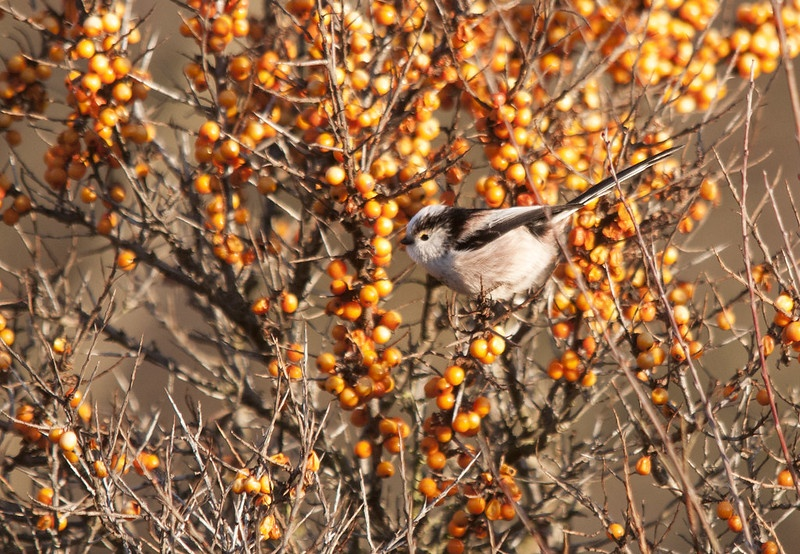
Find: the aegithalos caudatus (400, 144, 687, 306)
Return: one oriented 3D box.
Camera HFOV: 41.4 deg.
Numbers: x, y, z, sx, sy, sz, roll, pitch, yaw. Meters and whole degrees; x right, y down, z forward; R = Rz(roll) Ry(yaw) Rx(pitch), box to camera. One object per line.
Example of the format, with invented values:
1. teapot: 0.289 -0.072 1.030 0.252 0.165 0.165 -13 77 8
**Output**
1. aegithalos caudatus: 0.960 -0.222 7.308 1.918 0.924 0.590 -13 -23 23
